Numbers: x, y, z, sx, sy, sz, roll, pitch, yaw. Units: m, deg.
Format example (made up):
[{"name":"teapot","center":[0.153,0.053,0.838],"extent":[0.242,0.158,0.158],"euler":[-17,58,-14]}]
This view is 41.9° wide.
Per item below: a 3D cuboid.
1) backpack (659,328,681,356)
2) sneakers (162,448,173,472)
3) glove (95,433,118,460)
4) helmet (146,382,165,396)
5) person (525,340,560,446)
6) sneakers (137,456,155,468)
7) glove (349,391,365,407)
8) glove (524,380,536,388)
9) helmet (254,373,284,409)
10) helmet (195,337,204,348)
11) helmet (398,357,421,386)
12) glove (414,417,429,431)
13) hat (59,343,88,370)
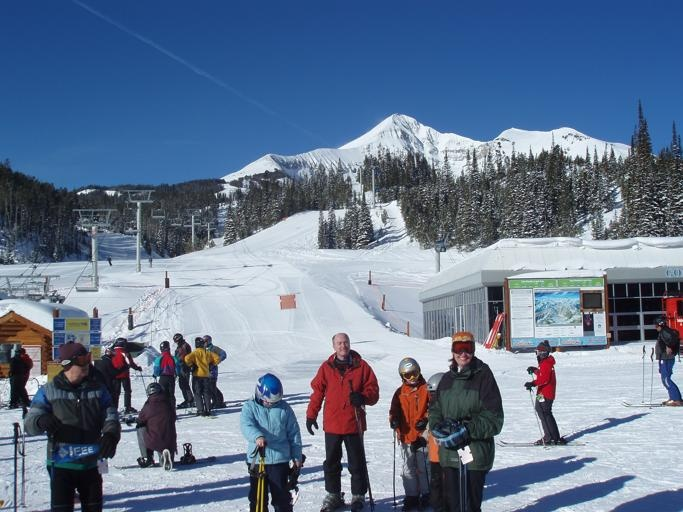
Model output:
[{"name":"backpack","center":[8.259,2.150,22.395],"extent":[0.468,0.679,0.667],"euler":[7,-15,9]},{"name":"sneakers","center":[-3.461,4.014,17.693],"extent":[0.202,0.402,0.157],"euler":[-8,-10,15]},{"name":"glove","center":[-3.747,3.011,14.241],"extent":[0.345,0.431,0.264],"euler":[-3,-3,1]},{"name":"helmet","center":[-3.790,2.653,18.009],"extent":[0.239,0.291,0.289],"euler":[0,12,-15]},{"name":"person","center":[4.383,2.918,19.276],"extent":[0.643,2.195,1.005],"euler":[-3,-3,12]},{"name":"sneakers","center":[-3.958,4.136,17.958],"extent":[0.364,0.161,0.139],"euler":[3,-4,35]},{"name":"glove","center":[0.289,2.559,15.949],"extent":[0.267,0.313,0.307],"euler":[-3,-3,-1]},{"name":"glove","center":[3.998,2.737,19.082],"extent":[0.299,0.093,0.299],"euler":[2,0,-18]},{"name":"helmet","center":[-1.245,2.276,15.331],"extent":[0.474,0.581,0.641],"euler":[3,19,-23]},{"name":"helmet","center":[-3.672,2.200,22.856],"extent":[0.202,0.262,0.256],"euler":[3,2,2]},{"name":"helmet","center":[1.245,2.095,16.339],"extent":[0.356,0.404,0.460],"euler":[-8,-7,-2]},{"name":"glove","center":[1.432,2.947,15.822],"extent":[0.234,0.085,0.164],"euler":[-31,13,-36]},{"name":"hat","center":[-4.296,1.565,14.318],"extent":[0.434,0.404,0.328],"euler":[-11,11,-27]}]
